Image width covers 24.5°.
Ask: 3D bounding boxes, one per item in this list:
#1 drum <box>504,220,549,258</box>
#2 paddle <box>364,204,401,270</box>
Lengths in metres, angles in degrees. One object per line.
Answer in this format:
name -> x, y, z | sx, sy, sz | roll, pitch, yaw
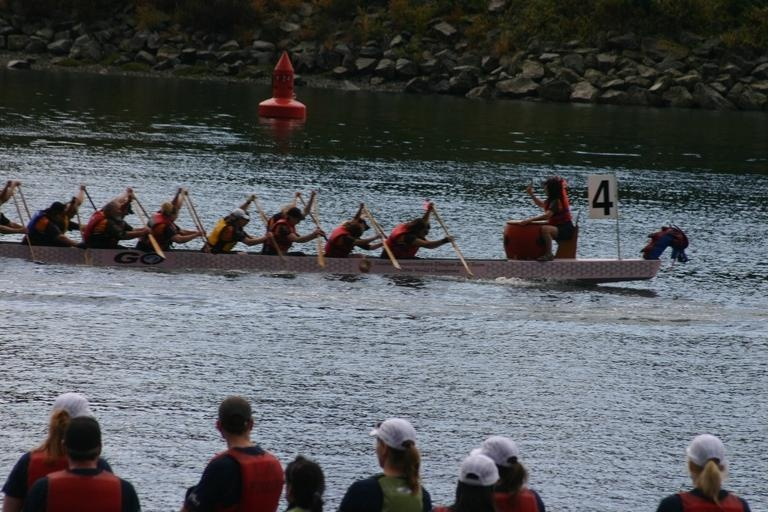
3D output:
drum -> 5.305, -0.545, 65.839 | 1.554, 1.017, 1.396 | -1, 5, -15
paddle -> 0.011, -0.583, 66.481 | 0.392, 3.269, 0.346 | -20, -34, -29
